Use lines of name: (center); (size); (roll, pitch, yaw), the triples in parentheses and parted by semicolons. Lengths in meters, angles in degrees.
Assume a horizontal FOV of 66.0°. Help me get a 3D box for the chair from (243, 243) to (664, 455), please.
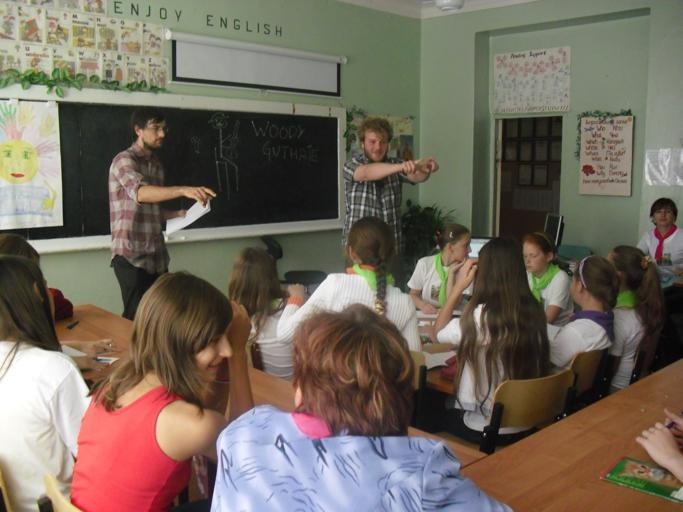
chair: (0.904, 0.313, 2.894); (0.868, 1.254, 1.063); (-4, 10, -28)

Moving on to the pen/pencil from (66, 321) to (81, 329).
pen/pencil: (-1.560, 0.396, 3.062); (0.025, 0.030, 0.101); (6, 21, 18)

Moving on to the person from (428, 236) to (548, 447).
person: (0.699, 0.411, 2.524); (0.535, 0.979, 0.518); (9, 14, 44)
